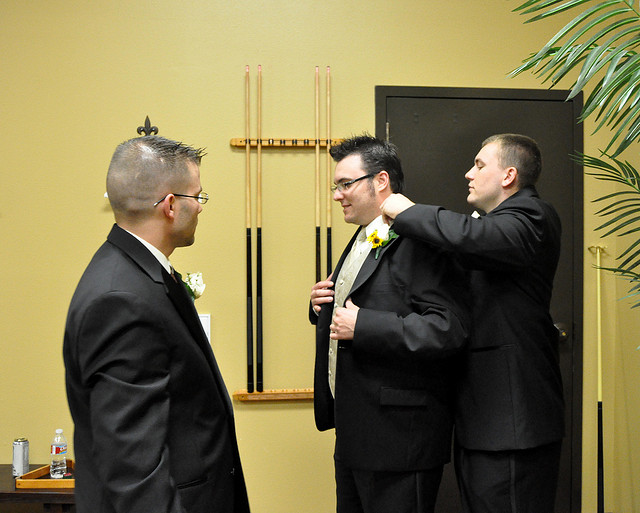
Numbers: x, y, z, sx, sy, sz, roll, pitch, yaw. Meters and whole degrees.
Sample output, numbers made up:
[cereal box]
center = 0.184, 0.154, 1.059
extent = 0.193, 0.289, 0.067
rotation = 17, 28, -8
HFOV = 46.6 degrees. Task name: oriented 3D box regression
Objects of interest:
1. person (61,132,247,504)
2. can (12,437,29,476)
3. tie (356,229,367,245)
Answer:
[person]
center = -0.649, 0.240, 2.904
extent = 0.663, 1.410, 0.340
rotation = -1, -9, -21
[can]
center = -1.572, 1.049, 3.916
extent = 0.078, 0.180, 0.139
rotation = -1, -9, -24
[tie]
center = 0.207, -0.093, 3.579
extent = 0.043, 0.053, 0.058
rotation = 11, -38, -43
